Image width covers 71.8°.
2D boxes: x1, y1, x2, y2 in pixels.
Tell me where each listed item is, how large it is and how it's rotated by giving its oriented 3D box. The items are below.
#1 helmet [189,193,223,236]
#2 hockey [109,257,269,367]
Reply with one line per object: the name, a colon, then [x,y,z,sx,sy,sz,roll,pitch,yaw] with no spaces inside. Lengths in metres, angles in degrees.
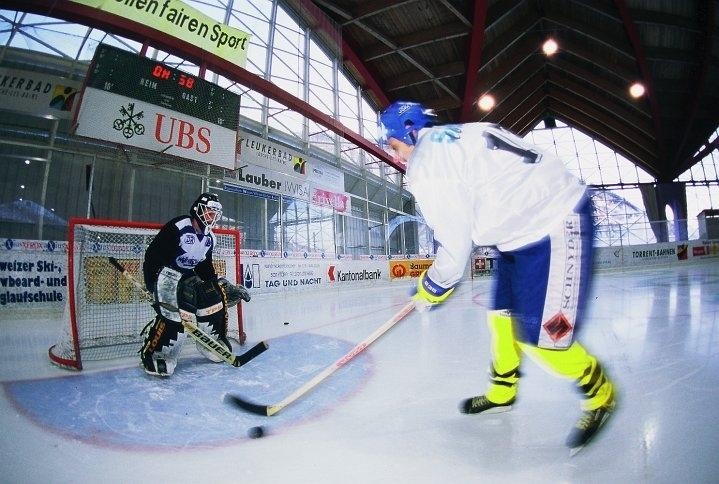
helmet: [-1.994,-0.348,6.304,0.328,0.262,0.357,-42,13,7]
hockey: [-2.310,0.952,6.515,0.270,1.713,0.185,-49,8,-26]
